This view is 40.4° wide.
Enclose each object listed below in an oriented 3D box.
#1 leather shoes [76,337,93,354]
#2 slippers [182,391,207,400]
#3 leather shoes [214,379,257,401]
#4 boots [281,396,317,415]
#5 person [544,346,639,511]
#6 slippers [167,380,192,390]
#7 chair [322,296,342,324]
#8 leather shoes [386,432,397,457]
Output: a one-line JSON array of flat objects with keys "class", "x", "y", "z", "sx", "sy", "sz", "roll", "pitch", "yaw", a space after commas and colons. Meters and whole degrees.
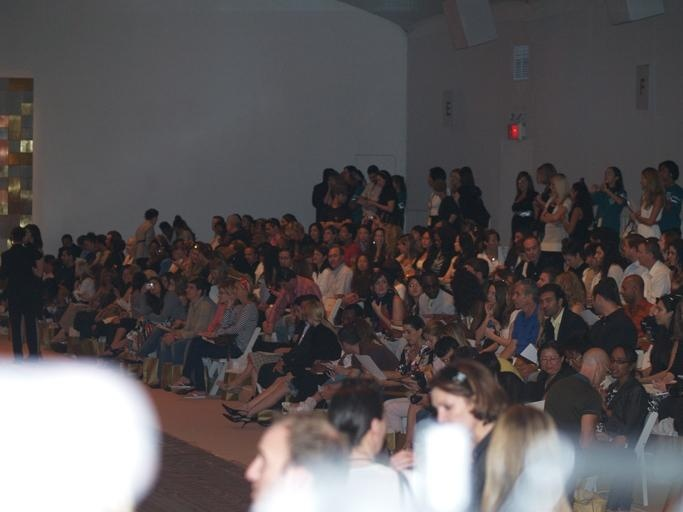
[{"class": "leather shoes", "x": -3.598, "y": 1.286, "z": 13.148, "sx": 0.248, "sy": 0.230, "sz": 0.193, "roll": -1, "pitch": -2, "yaw": 18}, {"class": "slippers", "x": -1.761, "y": 1.663, "z": 11.137, "sx": 0.255, "sy": 0.071, "sz": 0.100, "roll": 5, "pitch": -4, "yaw": -8}, {"class": "leather shoes", "x": -1.181, "y": 1.538, "z": 10.488, "sx": 0.605, "sy": 0.166, "sz": 0.204, "roll": 0, "pitch": 3, "yaw": 26}, {"class": "boots", "x": -0.418, "y": 1.500, "z": 9.263, "sx": 0.346, "sy": 0.161, "sz": 0.569, "roll": 1, "pitch": -1, "yaw": -2}, {"class": "person", "x": 1.963, "y": 1.282, "z": 7.406, "sx": 0.700, "sy": 1.276, "sz": 0.597, "roll": -19, "pitch": 31, "yaw": -20}, {"class": "slippers", "x": -1.987, "y": 1.565, "z": 11.316, "sx": 0.280, "sy": 0.087, "sz": 0.112, "roll": 0, "pitch": -4, "yaw": 23}, {"class": "chair", "x": -0.151, "y": 0.644, "z": 11.162, "sx": 0.240, "sy": 0.357, "sz": 0.265, "roll": -3, "pitch": -13, "yaw": 21}, {"class": "leather shoes", "x": 0.459, "y": 1.733, "z": 8.588, "sx": 0.145, "sy": 0.256, "sz": 0.068, "roll": 0, "pitch": -3, "yaw": -8}]
